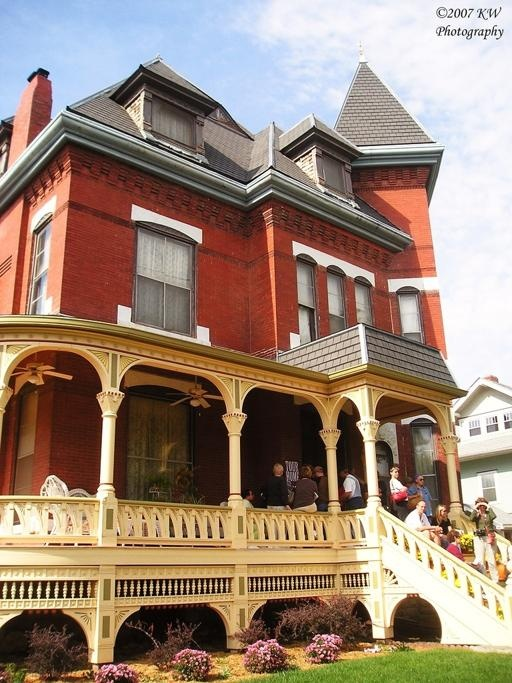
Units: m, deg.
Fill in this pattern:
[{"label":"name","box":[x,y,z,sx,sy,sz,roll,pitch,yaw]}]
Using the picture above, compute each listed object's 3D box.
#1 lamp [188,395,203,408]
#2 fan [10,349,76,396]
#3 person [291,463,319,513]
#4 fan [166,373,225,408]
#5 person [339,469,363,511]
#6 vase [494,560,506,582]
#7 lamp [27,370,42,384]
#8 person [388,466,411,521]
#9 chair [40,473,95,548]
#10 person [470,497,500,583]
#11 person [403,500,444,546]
[{"label":"lamp","box":[-1.153,1.149,12.025,0.300,0.282,0.306,1,-11,-9]},{"label":"fan","box":[-3.677,0.531,10.612,0.946,0.306,0.920,4,-20,-21]},{"label":"person","box":[0.892,2.748,11.778,0.481,0.847,0.738,-3,-16,3]},{"label":"fan","box":[-1.225,1.048,12.460,0.897,0.348,0.783,-4,-36,1]},{"label":"person","box":[1.807,2.838,11.937,0.410,0.675,0.749,-4,-16,6]},{"label":"vase","box":[3.947,3.719,10.107,0.162,0.319,0.476,-8,-17,19]},{"label":"lamp","box":[-3.630,0.566,10.190,0.063,0.203,0.218,-3,-9,42]},{"label":"person","box":[2.980,3.191,13.122,0.502,0.469,1.579,-20,-32,7]},{"label":"chair","box":[-2.698,2.203,8.606,0.521,0.637,0.478,-5,-12,14]},{"label":"person","box":[3.902,3.345,10.726,0.431,1.308,1.248,-7,-17,17]},{"label":"person","box":[2.820,3.063,10.697,0.562,0.695,0.844,-5,-17,11]}]
